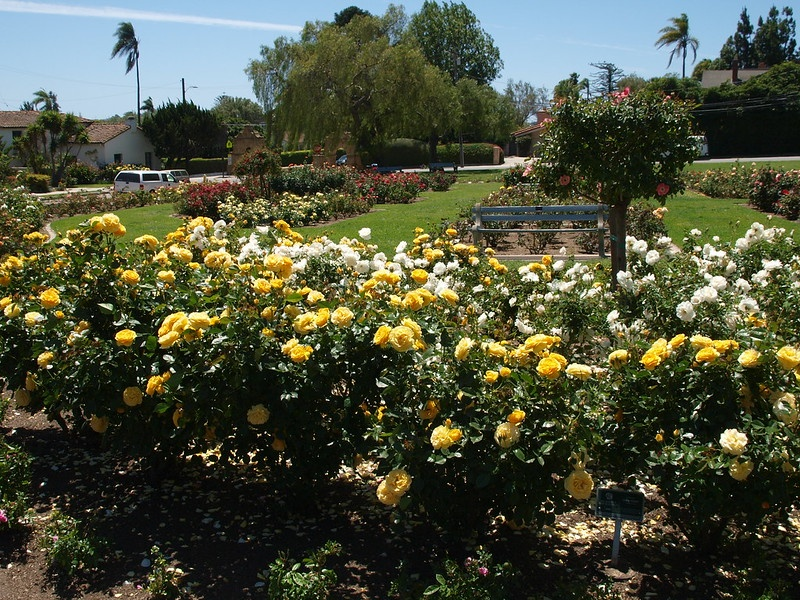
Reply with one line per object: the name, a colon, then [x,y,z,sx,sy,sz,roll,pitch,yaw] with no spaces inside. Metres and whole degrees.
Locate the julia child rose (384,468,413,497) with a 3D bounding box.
julia child rose: [-0.001,0.942,3.015,0.122,0.139,0.063,-11,-25,19]

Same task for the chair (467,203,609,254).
chair: [2.577,-1.278,10.739,2.390,0.928,0.646,2,-6,15]

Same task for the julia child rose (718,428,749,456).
julia child rose: [1.620,0.686,2.823,0.122,0.140,0.065,-15,-31,25]
